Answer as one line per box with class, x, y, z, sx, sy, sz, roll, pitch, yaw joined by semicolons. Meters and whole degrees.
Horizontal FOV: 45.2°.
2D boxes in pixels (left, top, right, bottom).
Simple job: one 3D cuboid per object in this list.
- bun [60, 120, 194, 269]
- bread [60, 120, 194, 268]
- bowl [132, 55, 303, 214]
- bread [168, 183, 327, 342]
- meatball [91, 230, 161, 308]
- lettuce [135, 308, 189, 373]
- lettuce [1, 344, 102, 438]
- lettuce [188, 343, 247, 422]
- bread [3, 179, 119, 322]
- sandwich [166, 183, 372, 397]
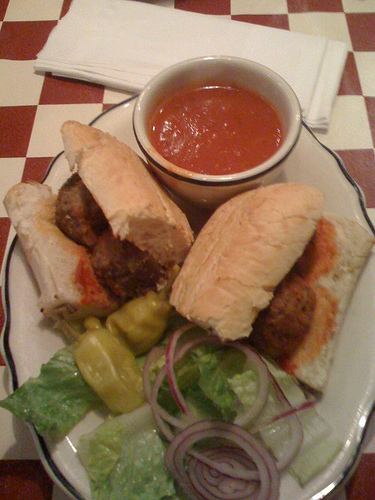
bun;-0.229;-0.256;1.570;0.168;0.448;0.572;-50;62;21
bread;-0.245;-0.254;1.560;0.165;0.442;0.540;-46;60;15
bowl;0.103;-0.444;1.628;0.588;0.417;0.594;-1;68;3
bread;0.170;-0.001;1.447;0.335;0.226;0.533;31;67;20
meatball;-0.215;0.026;1.669;0.305;0.227;0.262;-11;31;-20
lettuce;-0.050;0.336;1.679;0.182;0.154;0.239;-55;42;25
lettuce;-0.421;0.471;1.481;0.196;0.163;0.272;34;68;21
lettuce;0.096;0.447;1.483;0.199;0.145;0.261;7;28;9
bread;-0.451;0.009;1.560;0.137;0.324;0.532;-26;87;18
sandwich;0.265;0.050;1.513;0.622;0.405;0.599;20;64;15
